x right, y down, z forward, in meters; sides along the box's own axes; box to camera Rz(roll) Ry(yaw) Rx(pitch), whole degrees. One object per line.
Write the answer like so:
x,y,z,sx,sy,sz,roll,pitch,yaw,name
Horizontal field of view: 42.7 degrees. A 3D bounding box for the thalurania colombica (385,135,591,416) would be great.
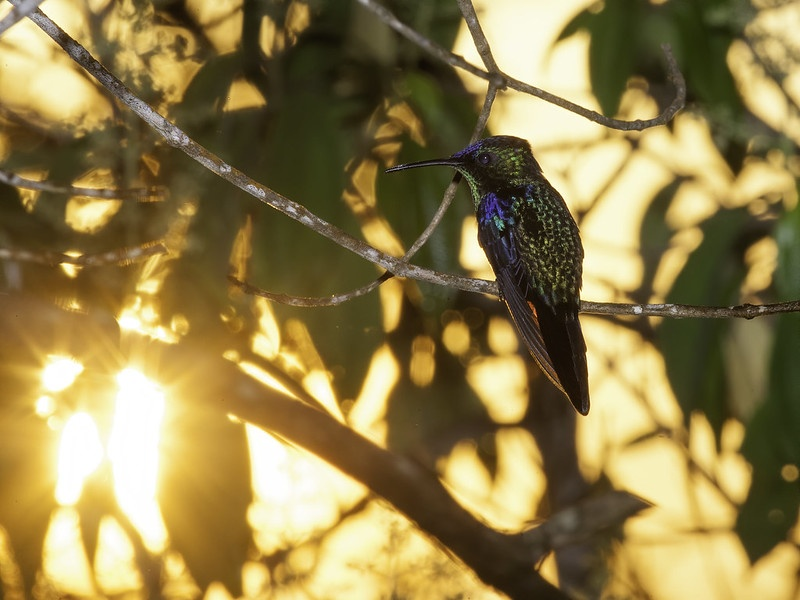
0.447,-0.194,3.624,0.598,1.187,0.522,-3,-58,-20,thalurania colombica
